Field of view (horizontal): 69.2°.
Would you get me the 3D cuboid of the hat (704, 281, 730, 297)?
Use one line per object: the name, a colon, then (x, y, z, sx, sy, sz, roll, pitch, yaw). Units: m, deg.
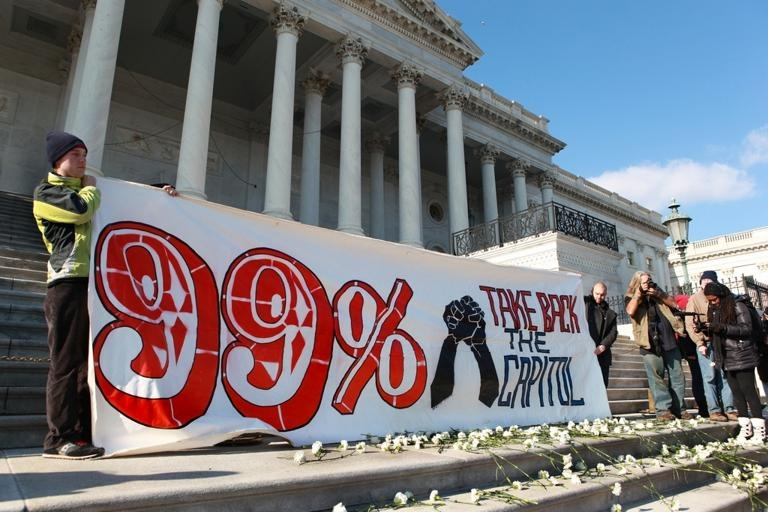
hat: (5.271, 0.580, 8.747, 0.285, 0.166, 0.231, 21, -20, -6)

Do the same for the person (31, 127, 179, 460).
person: (-3.509, 0.400, 6.194, 0.815, 3.607, 0.613, 8, -16, -42)

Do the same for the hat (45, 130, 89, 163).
hat: (-3.673, -1.239, 6.373, 0.372, 0.368, 0.329, -3, 8, -20)

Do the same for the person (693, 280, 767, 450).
person: (5.448, 1.634, 8.642, 0.729, 2.489, 0.571, -9, -13, 28)

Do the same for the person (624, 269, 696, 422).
person: (4.704, 1.511, 9.514, 0.901, 2.501, 0.441, -1, -12, -8)

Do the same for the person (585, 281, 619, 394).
person: (3.917, 1.404, 9.890, 0.471, 1.868, 1.401, -7, -13, 20)

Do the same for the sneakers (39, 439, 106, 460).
sneakers: (-3.294, 2.090, 5.967, 0.639, 0.253, 0.237, 2, -11, -4)
